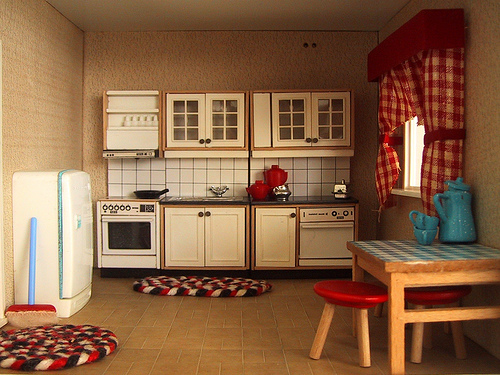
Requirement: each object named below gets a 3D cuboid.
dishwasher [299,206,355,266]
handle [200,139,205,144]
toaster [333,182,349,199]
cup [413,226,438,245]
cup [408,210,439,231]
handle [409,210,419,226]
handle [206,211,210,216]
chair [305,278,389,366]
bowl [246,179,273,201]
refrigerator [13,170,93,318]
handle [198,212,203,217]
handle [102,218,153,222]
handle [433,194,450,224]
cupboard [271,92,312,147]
[{"bbox_3d":[0.907,0.573,4.983,0.655,0.700,0.117,0,11,-1],"label":"dishwasher"},{"bbox_3d":[-0.568,-0.559,5.102,0.058,0.049,0.012,-1,13,-7],"label":"handle"},{"bbox_3d":[1.135,0.034,5.208,0.208,0.237,0.202,-1,-6,20],"label":"toaster"},{"bbox_3d":[1.357,0.382,3.297,0.152,0.101,0.139,1,-5,0],"label":"cup"},{"bbox_3d":[1.347,0.264,3.361,0.145,0.134,0.212,10,1,-45],"label":"cup"},{"bbox_3d":[1.328,0.244,3.460,0.070,0.151,0.329,4,10,21],"label":"handle"},{"bbox_3d":[-0.482,0.308,4.960,0.046,0.051,0.015,-1,11,-4],"label":"handle"},{"bbox_3d":[0.652,1.059,3.311,0.635,0.509,0.556,16,-15,-31],"label":"chair"},{"bbox_3d":[0.122,0.044,5.210,0.312,0.197,0.239,0,-2,1],"label":"bowl"},{"bbox_3d":[-1.863,0.532,4.027,0.701,1.361,0.513,-4,11,-19],"label":"refrigerator"},{"bbox_3d":[-0.566,0.320,4.955,0.046,0.054,0.022,-1,11,-8],"label":"handle"},{"bbox_3d":[-1.419,0.383,4.949,0.585,0.042,0.022,0,11,0],"label":"handle"},{"bbox_3d":[1.520,0.160,3.383,0.101,0.232,0.205,6,12,29],"label":"handle"},{"bbox_3d":[0.500,-0.816,5.109,0.577,0.599,0.295,3,6,2],"label":"cupboard"}]
